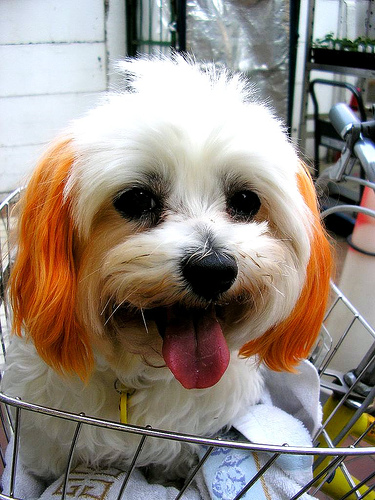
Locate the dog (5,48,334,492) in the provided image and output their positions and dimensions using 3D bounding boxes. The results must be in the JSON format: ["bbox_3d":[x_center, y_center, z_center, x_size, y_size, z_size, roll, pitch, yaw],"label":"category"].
[{"bbox_3d":[-0.029,0.013,0.940,0.536,0.685,0.429,-17,31,-41],"label":"dog"}]
